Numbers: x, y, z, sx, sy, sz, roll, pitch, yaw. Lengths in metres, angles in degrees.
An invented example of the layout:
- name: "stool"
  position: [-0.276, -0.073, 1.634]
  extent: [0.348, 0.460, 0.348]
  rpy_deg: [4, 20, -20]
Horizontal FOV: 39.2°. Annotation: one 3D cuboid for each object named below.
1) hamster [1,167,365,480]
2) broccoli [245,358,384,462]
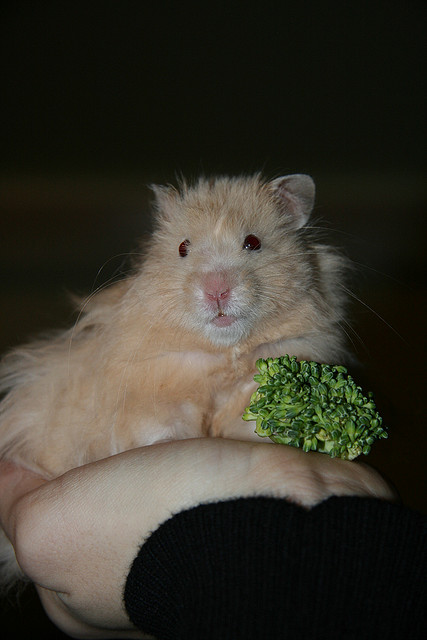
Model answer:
- name: "hamster"
  position: [-0.141, 0.065, 1.225]
  extent: [0.469, 0.359, 0.714]
  rpy_deg: [9, -31, -27]
- name: "broccoli"
  position: [0.143, 0.134, 0.918]
  extent: [0.178, 0.178, 0.081]
  rpy_deg: [25, -32, 23]
